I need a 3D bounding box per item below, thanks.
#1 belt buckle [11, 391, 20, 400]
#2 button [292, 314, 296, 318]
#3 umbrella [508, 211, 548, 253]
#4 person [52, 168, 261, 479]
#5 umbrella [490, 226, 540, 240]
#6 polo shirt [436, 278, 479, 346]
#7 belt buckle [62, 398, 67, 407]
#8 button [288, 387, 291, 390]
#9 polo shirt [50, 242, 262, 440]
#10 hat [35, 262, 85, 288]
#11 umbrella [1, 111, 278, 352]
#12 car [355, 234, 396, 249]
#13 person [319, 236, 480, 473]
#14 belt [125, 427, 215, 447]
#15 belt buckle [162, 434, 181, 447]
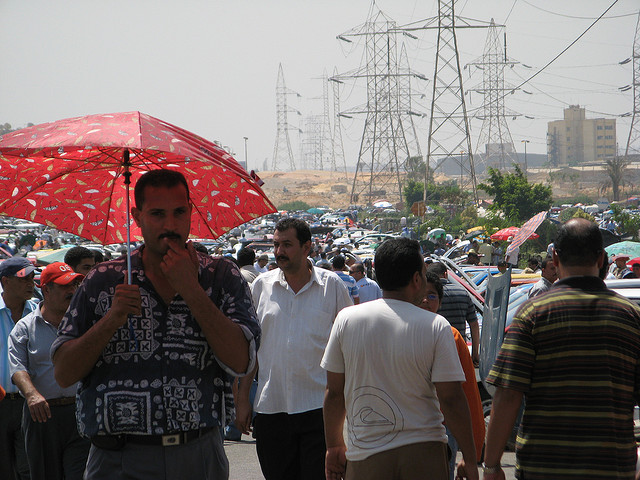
[{"bbox_3d":[-2.318,1.174,5.571,0.050,0.060,0.014,3,20,4],"label":"belt buckle"},{"bbox_3d":[-0.192,0.553,5.399,0.024,0.015,0.010,-3,-1,4],"label":"button"},{"bbox_3d":[2.558,-0.095,9.100,0.445,0.463,1.070,-3,-2,15],"label":"umbrella"},{"bbox_3d":[-0.816,0.455,3.655,0.999,1.139,0.505,-3,-1,-20],"label":"person"},{"bbox_3d":[4.759,-0.172,18.065,0.674,0.253,0.712,-2,-1,11],"label":"umbrella"},{"bbox_3d":[1.372,0.686,7.445,0.325,0.594,0.581,-3,-1,25],"label":"polo shirt"},{"bbox_3d":[-1.839,1.161,5.255,0.049,0.052,0.012,-2,-3,-11],"label":"belt buckle"},{"bbox_3d":[-0.216,1.057,5.217,0.011,0.023,0.012,1,7,9],"label":"button"},{"bbox_3d":[-0.860,0.513,3.834,0.989,1.011,0.570,-2,-5,-13],"label":"polo shirt"},{"bbox_3d":[-1.926,0.224,5.445,0.260,0.152,0.181,-14,-1,8],"label":"hat"},{"bbox_3d":[-1.061,-0.355,4.159,1.369,0.992,1.353,-1,9,14],"label":"umbrella"},{"bbox_3d":[2.712,0.150,36.465,1.860,0.766,0.964,1,2,-3],"label":"car"},{"bbox_3d":[0.440,0.685,4.325,0.879,1.199,0.389,-3,-1,1],"label":"person"},{"bbox_3d":[-0.784,0.986,3.640,0.358,0.063,0.047,-3,-1,-8],"label":"belt"},{"bbox_3d":[-0.737,0.987,3.632,0.090,0.044,0.013,-3,-1,-14],"label":"belt buckle"}]
